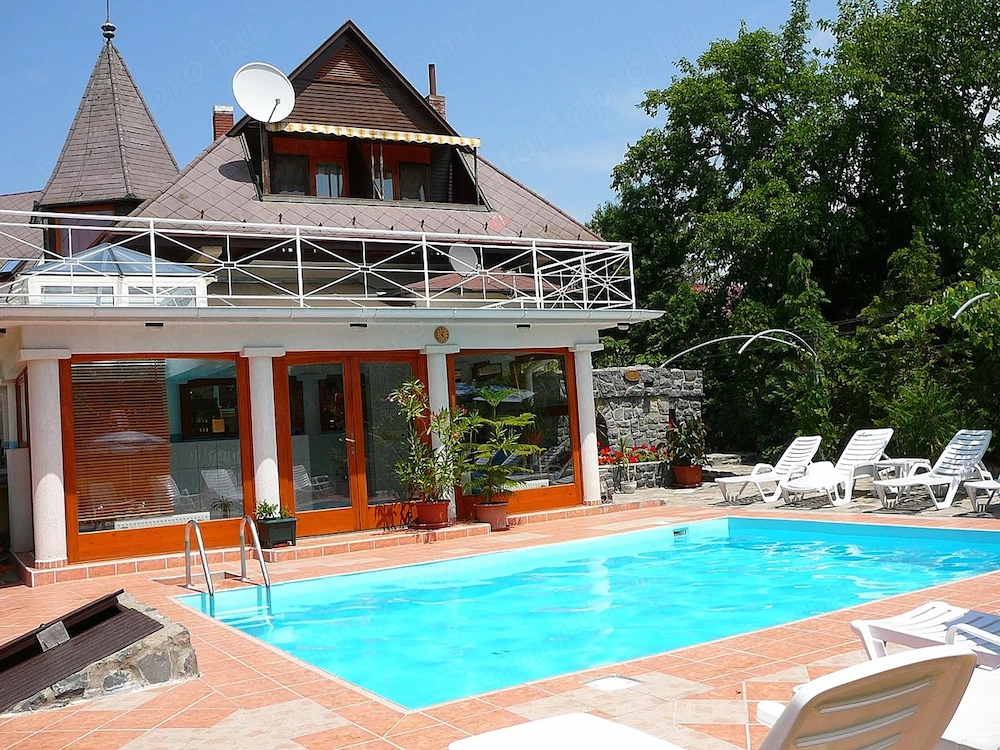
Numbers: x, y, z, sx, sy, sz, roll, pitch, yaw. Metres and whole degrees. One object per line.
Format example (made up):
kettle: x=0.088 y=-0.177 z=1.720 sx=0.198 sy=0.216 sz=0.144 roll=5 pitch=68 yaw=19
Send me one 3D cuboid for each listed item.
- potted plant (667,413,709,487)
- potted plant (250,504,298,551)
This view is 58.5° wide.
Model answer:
potted plant: x=4.725 y=1.960 z=22.690 sx=0.936 sy=1.795 sz=1.836 roll=-4 pitch=0 yaw=11
potted plant: x=-3.852 y=2.568 z=15.266 sx=0.688 sy=0.527 sz=0.722 roll=-1 pitch=1 yaw=-29
